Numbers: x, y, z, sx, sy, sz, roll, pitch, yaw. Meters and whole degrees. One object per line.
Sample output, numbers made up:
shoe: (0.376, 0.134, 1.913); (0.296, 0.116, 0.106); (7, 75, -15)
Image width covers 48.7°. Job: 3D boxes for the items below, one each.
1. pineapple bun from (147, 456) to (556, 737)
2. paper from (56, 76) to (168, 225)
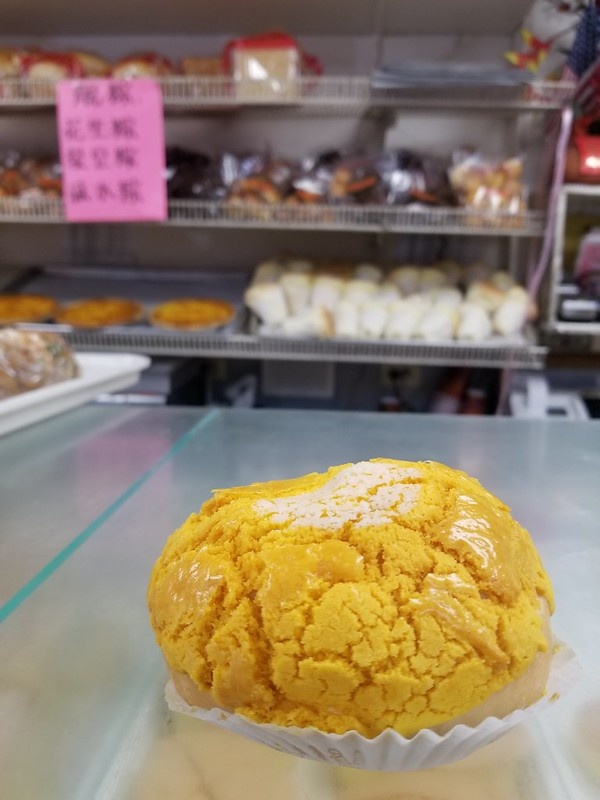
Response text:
pineapple bun: (0.036, 0.096, 0.365); (0.174, 0.082, 0.149); (2, 26, 11)
paper: (-0.463, -0.617, 1.640); (0.258, 0.320, 0.049); (2, 24, 3)
